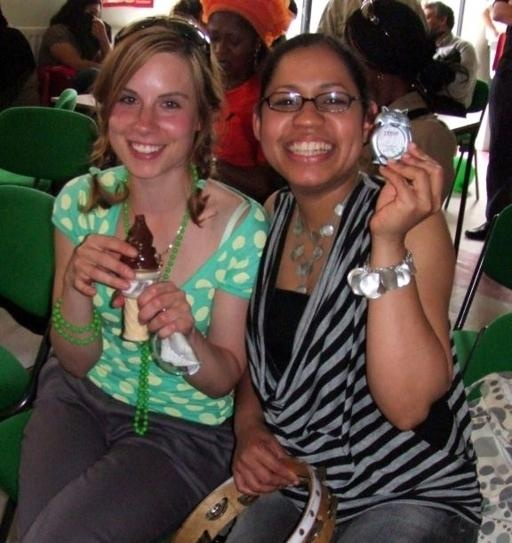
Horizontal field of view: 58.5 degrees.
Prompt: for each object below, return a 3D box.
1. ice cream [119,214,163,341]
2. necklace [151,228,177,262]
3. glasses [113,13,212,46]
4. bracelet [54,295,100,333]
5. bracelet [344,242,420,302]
[{"bbox_3d":[-0.280,0.046,1.095,0.084,0.366,0.224,-6,20,-25],"label":"ice cream"},{"bbox_3d":[-0.277,-0.072,1.365,0.074,0.091,0.023,3,-20,21],"label":"necklace"},{"bbox_3d":[-0.263,-0.688,1.304,0.277,0.108,0.114,-3,19,-16],"label":"glasses"},{"bbox_3d":[-0.521,0.124,1.318,0.124,0.093,0.103,-7,20,-28],"label":"bracelet"},{"bbox_3d":[0.278,0.009,0.976,0.141,0.049,0.152,-13,11,35],"label":"bracelet"}]
